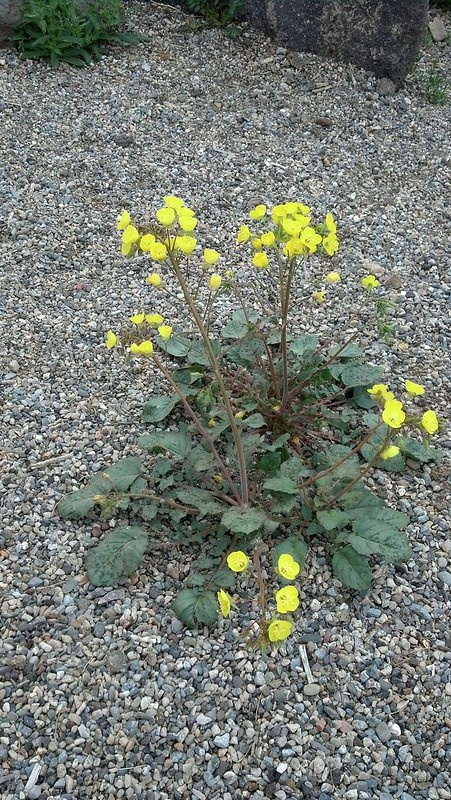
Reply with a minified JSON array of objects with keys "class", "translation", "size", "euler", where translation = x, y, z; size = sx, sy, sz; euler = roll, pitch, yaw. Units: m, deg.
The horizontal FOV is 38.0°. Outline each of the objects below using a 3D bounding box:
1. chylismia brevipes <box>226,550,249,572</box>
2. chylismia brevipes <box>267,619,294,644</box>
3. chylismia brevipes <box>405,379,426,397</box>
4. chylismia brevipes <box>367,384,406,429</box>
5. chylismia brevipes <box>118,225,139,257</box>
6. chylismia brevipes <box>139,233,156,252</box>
[{"class":"chylismia brevipes","translation":[0.030,0.426,1.747],"size":[0.051,0.082,0.072],"euler":[4,31,-3]},{"class":"chylismia brevipes","translation":[0.128,0.566,1.633],"size":[0.081,0.075,0.034],"euler":[0,33,-2]},{"class":"chylismia brevipes","translation":[0.643,-0.038,2.234],"size":[0.064,0.037,0.065],"euler":[34,23,33]},{"class":"chylismia brevipes","translation":[0.444,0.008,1.820],"size":[0.079,0.048,0.158],"euler":[-15,45,6]},{"class":"chylismia brevipes","translation":[-0.233,-0.404,1.674],"size":[0.071,0.059,0.019],"euler":[-23,4,37]},{"class":"chylismia brevipes","translation":[-0.195,-0.391,1.633],"size":[0.041,0.042,0.039],"euler":[1,32,-8]}]
